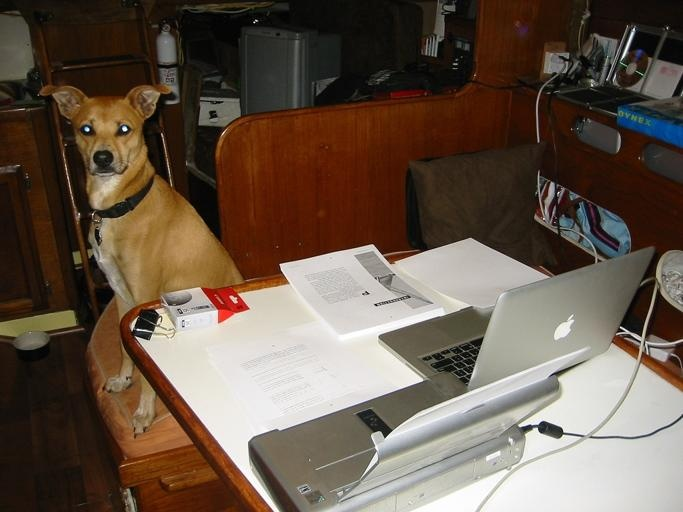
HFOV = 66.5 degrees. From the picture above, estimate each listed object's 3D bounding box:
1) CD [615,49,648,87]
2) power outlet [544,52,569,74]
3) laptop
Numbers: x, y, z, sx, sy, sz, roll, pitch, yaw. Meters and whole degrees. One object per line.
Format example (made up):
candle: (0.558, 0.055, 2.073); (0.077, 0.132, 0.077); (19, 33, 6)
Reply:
CD: (1.325, -0.850, 2.365); (0.045, 0.158, 0.146); (-6, 29, -9)
power outlet: (1.097, -0.979, 2.666); (0.116, 0.105, 0.045); (11, 31, 21)
laptop: (0.428, 0.107, 1.324); (0.530, 0.360, 0.412); (-17, 34, -23)
